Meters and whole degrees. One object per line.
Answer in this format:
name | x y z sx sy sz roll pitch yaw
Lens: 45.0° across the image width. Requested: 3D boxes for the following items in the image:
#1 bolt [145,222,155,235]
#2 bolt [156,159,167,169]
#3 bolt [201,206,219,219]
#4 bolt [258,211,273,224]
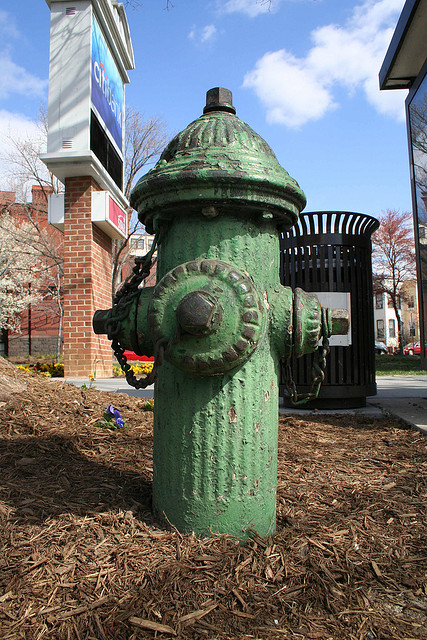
bolt | -0.271 -0.388 2.188 0.038 0.050 0.052 0 -13 -2
bolt | -0.195 -0.601 1.986 0.037 0.018 0.050 -45 1 26
bolt | -0.014 -0.397 1.885 0.058 0.041 0.040 6 1 0
bolt | 0.199 -0.389 1.964 0.038 0.030 0.042 -3 -2 -28
